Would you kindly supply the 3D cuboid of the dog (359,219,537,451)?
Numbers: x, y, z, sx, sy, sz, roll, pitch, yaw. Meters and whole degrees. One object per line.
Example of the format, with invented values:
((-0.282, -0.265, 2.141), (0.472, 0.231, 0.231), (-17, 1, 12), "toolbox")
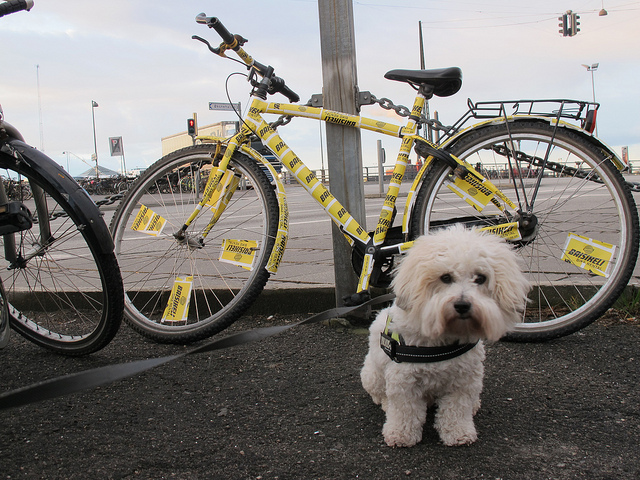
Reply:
((0.597, 0.489, 2.624), (0.680, 0.891, 1.145), (5, -9, -6), "dog")
